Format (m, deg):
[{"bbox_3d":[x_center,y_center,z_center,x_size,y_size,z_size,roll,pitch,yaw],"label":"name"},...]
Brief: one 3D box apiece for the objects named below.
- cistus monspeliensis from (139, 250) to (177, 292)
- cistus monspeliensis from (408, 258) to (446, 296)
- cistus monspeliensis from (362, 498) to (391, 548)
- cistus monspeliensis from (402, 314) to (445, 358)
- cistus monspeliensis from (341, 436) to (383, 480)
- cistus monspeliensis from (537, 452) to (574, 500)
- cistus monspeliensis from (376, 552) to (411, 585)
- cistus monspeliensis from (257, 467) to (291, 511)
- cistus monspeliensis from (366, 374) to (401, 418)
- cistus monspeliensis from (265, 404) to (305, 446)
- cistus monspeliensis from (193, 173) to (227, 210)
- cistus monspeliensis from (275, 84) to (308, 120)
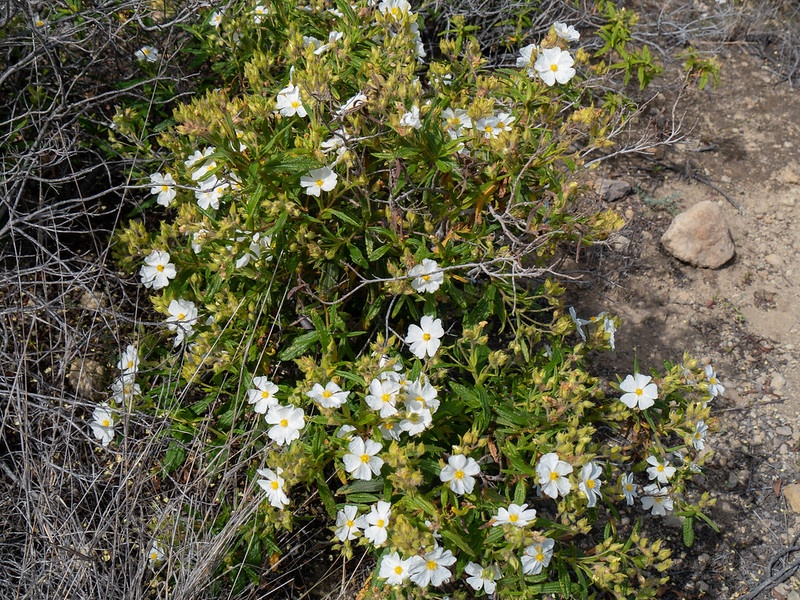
[{"bbox_3d":[-1.501,-0.176,4.309,0.214,0.215,0.215,10,74,2],"label":"cistus monspeliensis"},{"bbox_3d":[0.152,-0.143,4.068,0.211,0.306,0.184,13,74,3],"label":"cistus monspeliensis"},{"bbox_3d":[-0.131,1.243,3.817,0.202,0.063,0.233,24,99,41],"label":"cistus monspeliensis"},{"bbox_3d":[0.146,0.220,4.075,0.201,0.228,0.257,25,75,6],"label":"cistus monspeliensis"},{"bbox_3d":[-0.207,0.918,3.934,0.218,0.308,0.215,11,74,3],"label":"cistus monspeliensis"},{"bbox_3d":[0.859,0.981,3.842,0.199,0.167,0.234,2,75,-1],"label":"cistus monspeliensis"},{"bbox_3d":[-0.037,1.485,3.779,0.156,0.093,0.178,1,75,-1],"label":"cistus monspeliensis"},{"bbox_3d":[-0.710,1.062,3.873,0.217,0.072,0.270,6,102,41],"label":"cistus monspeliensis"},{"bbox_3d":[-0.097,0.546,3.835,0.182,0.128,0.207,8,75,1],"label":"cistus monspeliensis"},{"bbox_3d":[-0.667,0.740,4.020,0.234,0.323,0.225,10,74,2],"label":"cistus monspeliensis"},{"bbox_3d":[-1.162,-0.664,4.206,0.187,0.077,0.215,27,111,25],"label":"cistus monspeliensis"},{"bbox_3d":[-0.678,-1.225,4.184,0.166,0.205,0.215,-15,75,-5],"label":"cistus monspeliensis"}]
